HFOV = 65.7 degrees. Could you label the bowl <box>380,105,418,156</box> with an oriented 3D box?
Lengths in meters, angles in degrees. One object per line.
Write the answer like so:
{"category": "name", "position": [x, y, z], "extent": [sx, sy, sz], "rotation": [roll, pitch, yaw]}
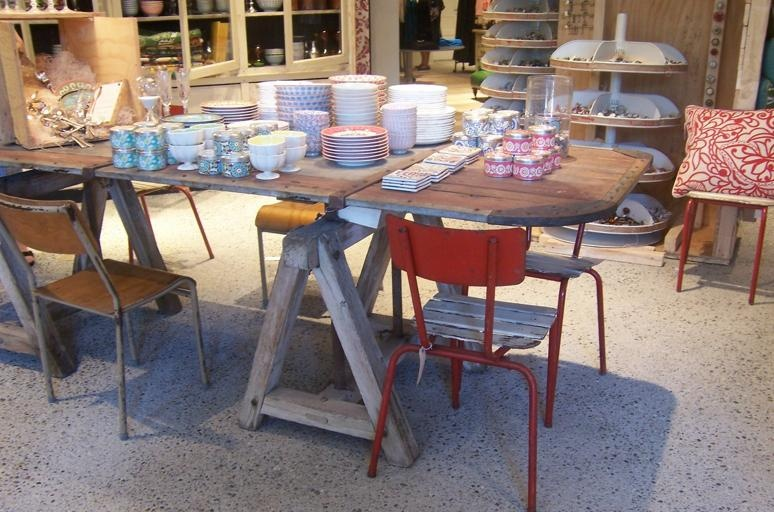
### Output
{"category": "bowl", "position": [0.050, -0.589, 2.823], "extent": [0.273, 0.212, 0.221], "rotation": [-5, 22, -10]}

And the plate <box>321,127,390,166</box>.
{"category": "plate", "position": [-0.129, -0.499, 2.732], "extent": [0.278, 0.083, 0.246], "rotation": [-10, 20, -27]}

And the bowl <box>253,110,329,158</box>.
{"category": "bowl", "position": [-0.440, -0.597, 2.941], "extent": [0.261, 0.209, 0.249], "rotation": [-1, 16, 0]}

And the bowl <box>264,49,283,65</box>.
{"category": "bowl", "position": [-1.120, -1.987, 6.015], "extent": [0.202, 0.105, 0.172], "rotation": [-2, 15, -1]}

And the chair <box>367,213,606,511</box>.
{"category": "chair", "position": [0.353, 0.341, 2.512], "extent": [0.701, 1.172, 0.804], "rotation": [5, 27, 16]}

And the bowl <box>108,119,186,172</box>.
{"category": "bowl", "position": [-1.076, -0.504, 2.723], "extent": [0.286, 0.129, 0.266], "rotation": [-1, 20, 0]}

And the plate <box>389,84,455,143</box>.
{"category": "plate", "position": [0.218, -0.737, 3.084], "extent": [0.433, 0.194, 0.340], "rotation": [1, 20, 7]}
